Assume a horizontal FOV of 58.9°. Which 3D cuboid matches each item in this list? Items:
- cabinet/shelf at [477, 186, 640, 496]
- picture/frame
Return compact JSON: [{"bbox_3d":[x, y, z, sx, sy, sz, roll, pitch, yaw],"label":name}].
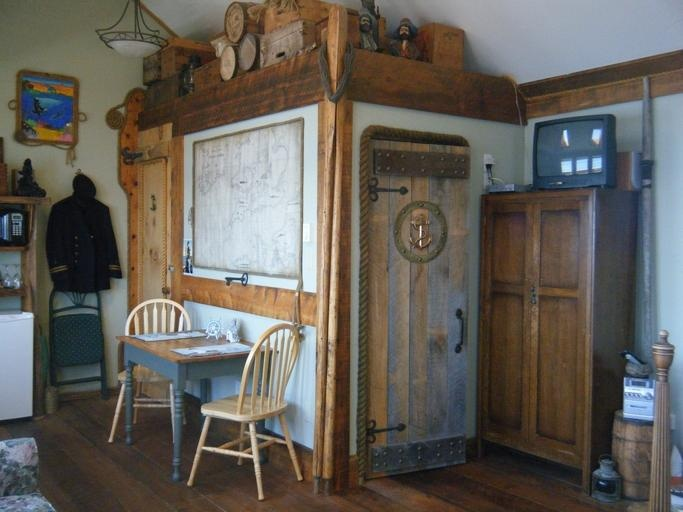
[{"bbox_3d":[1.685,0.585,4.904,1.186,2.238,0.557,4,6,33],"label":"cabinet/shelf"},{"bbox_3d":[-3.149,-1.556,6.414,0.831,0.987,0.098,-1,3,-39],"label":"picture/frame"}]
